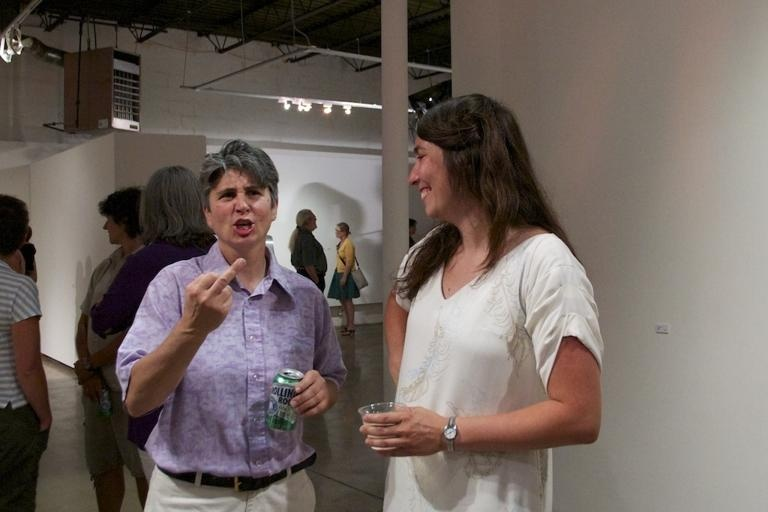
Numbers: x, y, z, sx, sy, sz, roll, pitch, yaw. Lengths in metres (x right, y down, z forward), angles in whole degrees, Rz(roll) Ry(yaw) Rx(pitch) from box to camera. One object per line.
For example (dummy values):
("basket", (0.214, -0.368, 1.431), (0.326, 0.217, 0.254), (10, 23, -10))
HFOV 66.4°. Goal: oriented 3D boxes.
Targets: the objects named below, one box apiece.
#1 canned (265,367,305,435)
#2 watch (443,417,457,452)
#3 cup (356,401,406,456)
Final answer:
("canned", (-0.375, 0.564, 2.228), (0.133, 0.269, 0.116), (2, 7, 19))
("watch", (0.227, 0.601, 1.989), (0.064, 0.102, 0.090), (0, -7, 3))
("cup", (-0.005, 0.577, 1.993), (0.158, 0.129, 0.178), (4, -6, -30))
